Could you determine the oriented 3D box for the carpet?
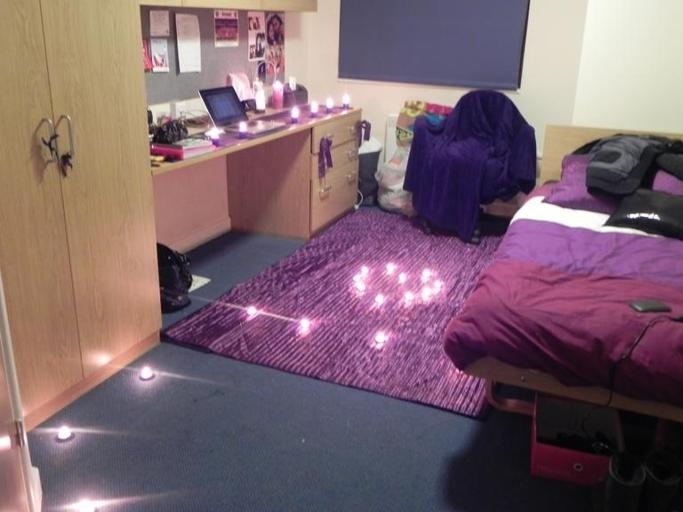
[{"bbox_3d":[0.180,0.207,3.489,1.784,0.067,2.705,5,19,14],"label":"carpet"}]

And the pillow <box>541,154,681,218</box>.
[{"bbox_3d":[1.643,-0.502,3.333,0.520,0.148,0.514,-45,40,-20],"label":"pillow"}]

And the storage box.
[{"bbox_3d":[0.896,0.709,1.932,0.316,0.228,0.334,7,20,25],"label":"storage box"}]

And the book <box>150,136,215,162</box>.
[{"bbox_3d":[-0.880,-0.616,2.777,0.215,0.081,0.406,10,28,23],"label":"book"}]

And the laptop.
[{"bbox_3d":[-0.638,-1.021,3.418,0.453,0.276,0.586,15,29,31],"label":"laptop"}]

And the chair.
[{"bbox_3d":[1.061,-0.759,4.242,1.074,1.147,0.786,16,25,27],"label":"chair"}]
